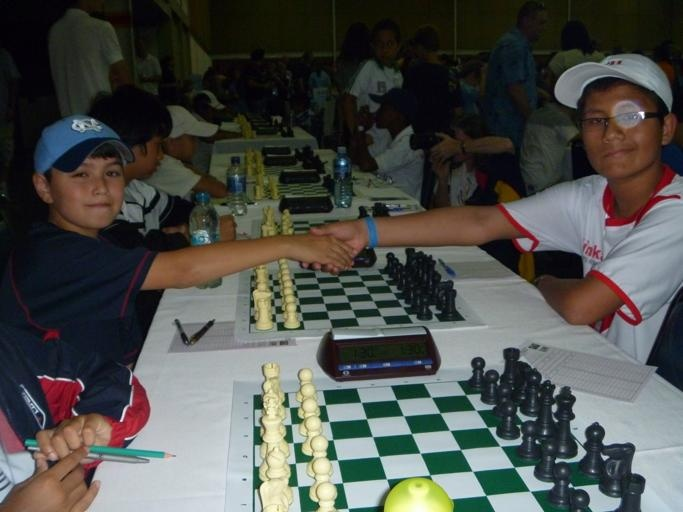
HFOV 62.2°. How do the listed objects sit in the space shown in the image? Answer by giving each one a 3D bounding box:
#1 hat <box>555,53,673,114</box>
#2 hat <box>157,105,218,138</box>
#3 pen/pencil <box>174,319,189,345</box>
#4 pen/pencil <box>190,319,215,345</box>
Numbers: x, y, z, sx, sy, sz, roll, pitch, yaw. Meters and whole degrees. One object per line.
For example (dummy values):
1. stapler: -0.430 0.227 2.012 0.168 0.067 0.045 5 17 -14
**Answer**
1. hat: 0.837 -0.479 1.765 0.324 0.166 0.234 7 5 -12
2. hat: -0.912 -0.795 3.428 0.433 0.171 0.293 -4 12 20
3. pen/pencil: -0.481 0.233 1.703 0.029 0.023 0.151 -17 23 -11
4. pen/pencil: -0.429 0.235 1.715 0.022 0.011 0.097 12 20 7
